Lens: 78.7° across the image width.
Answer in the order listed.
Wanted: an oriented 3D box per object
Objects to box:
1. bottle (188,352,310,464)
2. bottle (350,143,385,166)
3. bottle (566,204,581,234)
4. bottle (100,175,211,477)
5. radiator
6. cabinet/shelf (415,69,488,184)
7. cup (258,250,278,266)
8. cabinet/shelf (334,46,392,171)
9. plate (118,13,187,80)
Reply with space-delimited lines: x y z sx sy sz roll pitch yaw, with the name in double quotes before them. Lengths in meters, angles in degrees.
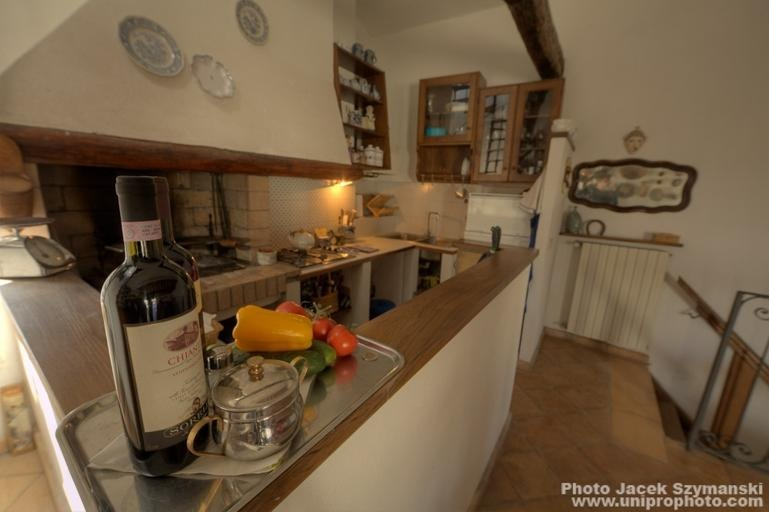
"bottle" -0.537 0.621 2.089 0.322 0.329 0.520 10 20 40
"bottle" -0.169 -1.077 4.947 0.322 0.299 0.209 -9 20 -24
"bottle" 1.895 -0.358 4.688 0.144 0.268 0.143 0 13 0
"bottle" -0.936 0.296 1.934 0.361 1.224 0.285 -8 15 -31
"radiator" 2.314 0.424 4.629 0.956 1.214 0.105 11 17 27
"cabinet/shelf" 0.677 -1.311 4.951 0.648 1.066 0.291 6 8 28
"cup" -0.951 0.016 3.822 0.125 0.085 0.123 1 17 0
"cabinet/shelf" -0.277 -1.471 4.818 0.389 1.144 0.830 7 15 30
"plate" -1.440 -1.305 2.925 0.043 0.314 0.320 -2 -24 42
